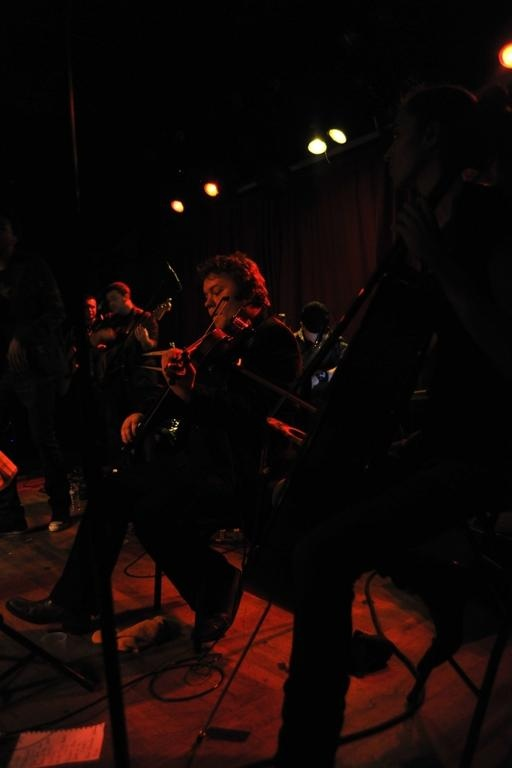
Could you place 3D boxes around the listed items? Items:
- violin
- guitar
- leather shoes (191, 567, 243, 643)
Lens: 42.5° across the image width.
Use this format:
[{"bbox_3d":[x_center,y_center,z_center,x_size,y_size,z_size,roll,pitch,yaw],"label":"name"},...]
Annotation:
[{"bbox_3d":[-0.136,-0.157,2.385,0.102,0.198,0.378,34,26,10],"label":"violin"},{"bbox_3d":[-0.865,-0.234,4.354,0.476,0.824,0.477,-2,8,-33],"label":"guitar"},{"bbox_3d":[-0.117,0.686,1.980,0.178,0.224,0.171,1,10,-18],"label":"leather shoes"}]
